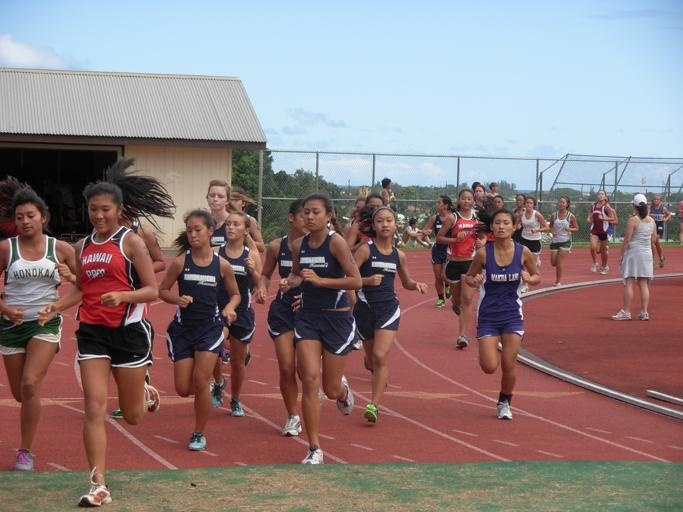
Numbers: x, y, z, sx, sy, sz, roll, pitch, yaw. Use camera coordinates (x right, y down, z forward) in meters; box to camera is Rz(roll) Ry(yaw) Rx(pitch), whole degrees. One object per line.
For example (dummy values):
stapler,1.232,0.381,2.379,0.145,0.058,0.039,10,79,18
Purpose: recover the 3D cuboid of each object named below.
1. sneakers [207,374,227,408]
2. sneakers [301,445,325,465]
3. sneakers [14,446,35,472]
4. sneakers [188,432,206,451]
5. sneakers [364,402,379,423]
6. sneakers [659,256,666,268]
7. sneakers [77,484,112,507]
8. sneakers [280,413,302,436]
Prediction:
sneakers,-1.253,1.376,7.607,0.195,0.499,0.229,-1,6,0
sneakers,-0.224,1.533,5.756,0.172,0.129,0.167,1,3,-11
sneakers,-2.344,1.514,5.508,0.125,0.174,0.271,0,3,-23
sneakers,-1.201,1.518,6.209,0.149,0.137,0.205,1,3,-11
sneakers,0.280,1.468,6.987,0.126,0.091,0.242,-22,-10,-1
sneakers,9.807,0.189,22.791,0.142,0.379,0.169,-5,-38,36
sneakers,-1.590,1.543,4.817,0.104,0.096,0.230,-3,-14,17
sneakers,-0.446,1.507,6.720,0.174,0.171,0.195,1,3,-3
